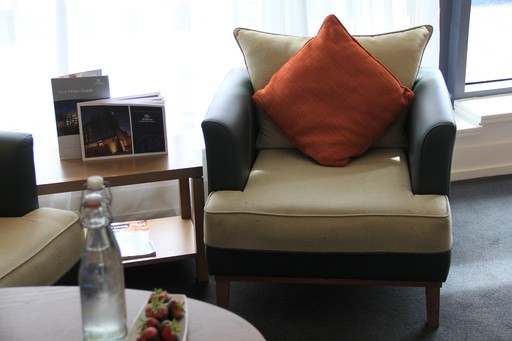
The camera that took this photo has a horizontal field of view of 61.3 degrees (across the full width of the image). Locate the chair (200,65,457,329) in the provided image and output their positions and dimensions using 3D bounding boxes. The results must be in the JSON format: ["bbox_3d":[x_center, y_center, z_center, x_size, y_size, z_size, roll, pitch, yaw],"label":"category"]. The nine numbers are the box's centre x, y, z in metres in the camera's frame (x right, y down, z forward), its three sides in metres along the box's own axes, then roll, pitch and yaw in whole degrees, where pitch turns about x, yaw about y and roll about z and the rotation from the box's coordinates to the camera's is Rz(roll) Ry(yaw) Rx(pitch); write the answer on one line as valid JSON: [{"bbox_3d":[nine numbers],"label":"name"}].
[{"bbox_3d":[0.360,0.189,2.439,1.289,1.080,1.145,1,36,7],"label":"chair"}]

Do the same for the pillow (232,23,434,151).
[{"bbox_3d":[0.398,-0.407,2.226,0.738,0.485,0.251,0,29,3],"label":"pillow"}]
